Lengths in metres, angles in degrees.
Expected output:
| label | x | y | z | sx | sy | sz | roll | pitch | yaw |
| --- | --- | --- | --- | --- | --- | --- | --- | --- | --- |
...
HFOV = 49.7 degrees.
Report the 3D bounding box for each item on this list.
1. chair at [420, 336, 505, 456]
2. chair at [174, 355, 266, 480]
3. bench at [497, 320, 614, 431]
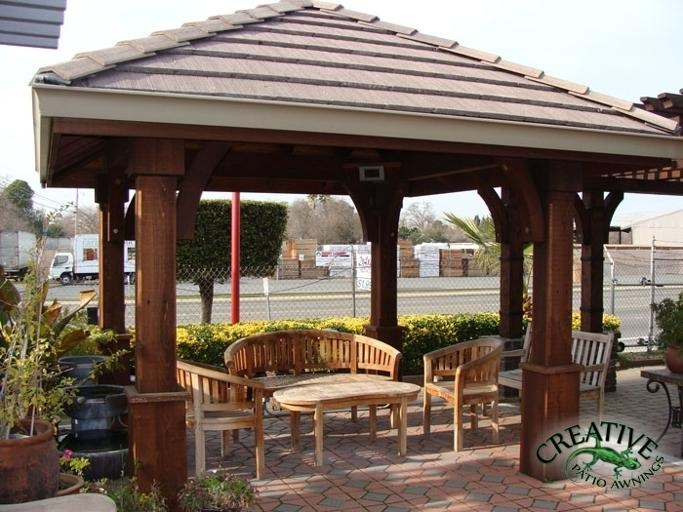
| label | x | y | z | sx | sy | sz | roll | pitch | yaw |
| --- | --- | --- | --- | --- | --- | --- | --- | --- | --- |
| chair | 1.413 | 1.473 | 8.228 | 0.740 | 1.121 | 1.021 | 0 | -1 | -13 |
| chair | -1.283 | 1.603 | 7.385 | 0.719 | 1.191 | 1.050 | 1 | -3 | -35 |
| bench | 2.451 | 1.371 | 8.702 | 0.616 | 1.008 | 1.418 | 2 | -2 | -23 |
